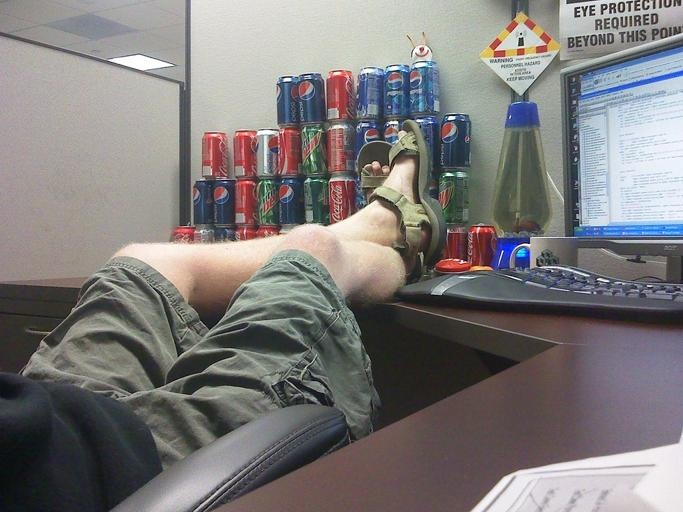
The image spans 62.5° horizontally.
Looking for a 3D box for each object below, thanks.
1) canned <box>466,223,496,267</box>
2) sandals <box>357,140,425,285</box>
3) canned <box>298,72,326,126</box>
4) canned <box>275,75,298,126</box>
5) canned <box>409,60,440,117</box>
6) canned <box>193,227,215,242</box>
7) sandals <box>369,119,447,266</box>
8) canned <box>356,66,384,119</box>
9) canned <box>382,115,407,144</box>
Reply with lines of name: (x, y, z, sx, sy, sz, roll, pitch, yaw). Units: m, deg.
canned: (0.332, -0.027, 1.340, 0.067, 0.094, 0.068, -3, 9, 13)
sandals: (0.118, -0.144, 1.271, 0.099, 0.367, 0.130, 4, -32, -18)
canned: (-0.082, -0.431, 1.552, 0.080, 0.134, 0.051, -5, 9, -3)
canned: (-0.151, -0.430, 1.569, 0.066, 0.133, 0.036, -6, 9, -3)
canned: (0.208, -0.422, 1.430, 0.078, 0.137, 0.049, -4, 9, 5)
canned: (-0.415, -0.065, 1.688, 0.049, 0.047, 0.078, -1, -4, 23)
sandals: (0.124, -0.144, 1.290, 0.111, 0.393, 0.152, 19, -37, -39)
canned: (0.070, -0.421, 1.470, 0.083, 0.131, 0.057, -3, 10, 13)
canned: (0.132, -0.326, 1.449, 0.072, 0.110, 0.068, 0, -7, 3)
